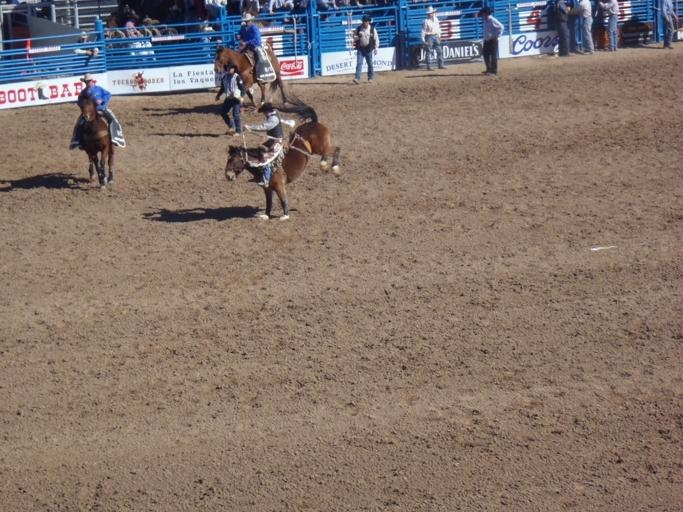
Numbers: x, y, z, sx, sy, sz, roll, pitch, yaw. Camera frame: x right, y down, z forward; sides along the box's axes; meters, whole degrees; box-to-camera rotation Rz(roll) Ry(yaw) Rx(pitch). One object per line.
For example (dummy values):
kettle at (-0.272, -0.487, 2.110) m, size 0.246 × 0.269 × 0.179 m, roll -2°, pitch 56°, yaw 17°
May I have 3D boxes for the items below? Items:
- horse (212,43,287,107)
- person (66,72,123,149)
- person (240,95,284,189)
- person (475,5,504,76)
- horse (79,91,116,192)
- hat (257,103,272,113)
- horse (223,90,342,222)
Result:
horse at (-2.257, -5.222, 23.466) m, size 2.544 × 2.019 × 0.688 m, roll -8°, pitch 32°, yaw -7°
person at (-5.699, -3.354, 19.507) m, size 1.077 × 1.919 × 1.172 m, roll -4°, pitch 1°, yaw 4°
person at (-1.529, -2.368, 17.411) m, size 0.729 × 1.755 × 1.347 m, roll -4°, pitch 13°, yaw 0°
person at (5.073, -7.259, 27.601) m, size 0.621 × 2.186 × 1.081 m, roll -1°, pitch 13°, yaw 11°
horse at (-5.747, -2.710, 19.402) m, size 0.724 × 2.222 × 1.145 m, roll -8°, pitch 13°, yaw -20°
hat at (-1.541, -3.175, 17.501) m, size 0.364 × 0.163 × 0.437 m, roll 2°, pitch 19°, yaw 14°
horse at (-1.410, -2.265, 19.257) m, size 3.162 × 2.754 × 1.068 m, roll -45°, pitch 43°, yaw -18°
